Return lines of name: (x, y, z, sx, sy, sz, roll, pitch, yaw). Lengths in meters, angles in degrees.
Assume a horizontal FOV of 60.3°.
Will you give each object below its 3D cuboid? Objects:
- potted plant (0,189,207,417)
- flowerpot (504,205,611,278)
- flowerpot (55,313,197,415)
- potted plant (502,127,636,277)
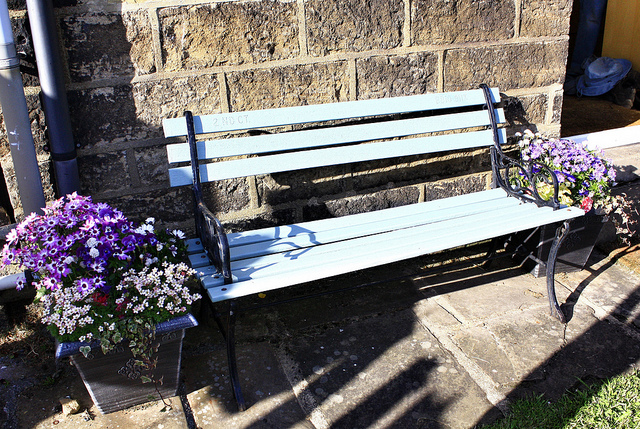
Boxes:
potted plant: (-1.095, 0.483, 3.021, 0.944, 1.167, 0.486, -13, 24, -14)
flowerpot: (1.707, 0.169, 4.094, 0.637, 0.488, 0.513, -14, 24, -14)
flowerpot: (-1.013, 0.849, 2.993, 0.659, 0.497, 0.605, -7, 12, -27)
potted plant: (1.736, -0.047, 3.895, 0.819, 0.855, 0.613, -7, 42, -7)
